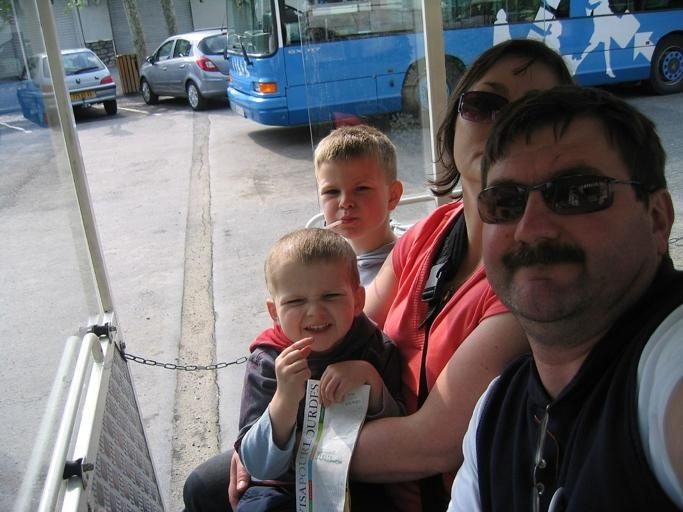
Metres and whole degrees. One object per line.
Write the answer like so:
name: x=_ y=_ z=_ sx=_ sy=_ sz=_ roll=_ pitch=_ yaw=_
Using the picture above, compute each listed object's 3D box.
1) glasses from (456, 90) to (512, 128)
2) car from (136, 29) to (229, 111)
glasses: x=0.430 y=-0.464 z=1.823 sx=0.147 sy=0.070 sz=0.152 roll=21 pitch=17 yaw=31
car: x=-3.572 y=-4.530 z=14.272 sx=1.728 sy=1.491 sz=2.927 roll=-21 pitch=33 yaw=-36
